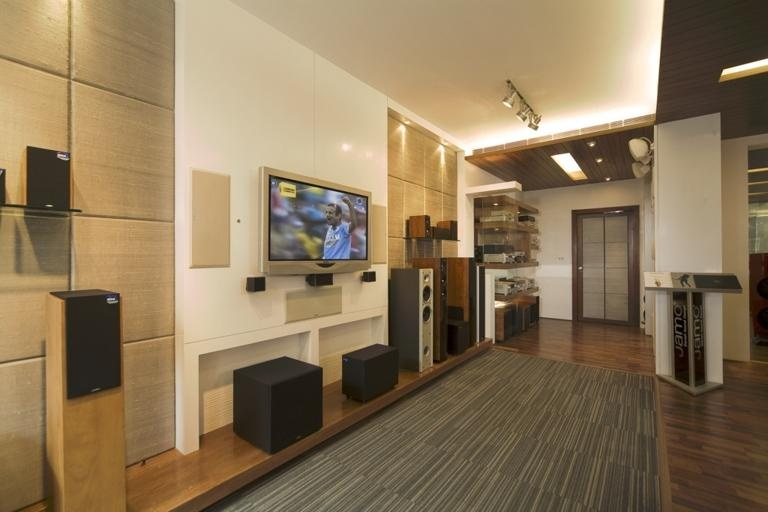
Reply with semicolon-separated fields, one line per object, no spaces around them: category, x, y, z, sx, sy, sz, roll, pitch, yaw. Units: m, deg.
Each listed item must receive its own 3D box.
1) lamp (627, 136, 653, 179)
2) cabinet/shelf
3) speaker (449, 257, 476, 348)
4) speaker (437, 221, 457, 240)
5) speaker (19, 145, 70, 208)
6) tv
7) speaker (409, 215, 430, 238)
lamp;3.346;-1.299;6.638;0.269;0.447;0.663;-2;2;26
cabinet/shelf;2.003;-0.359;8.231;0.518;1.120;1.832;-2;2;35
speaker;1.015;0.595;6.382;0.514;1.151;0.236;-4;2;-36
speaker;0.828;-0.337;6.810;0.126;0.239;0.253;-2;-3;40
speaker;-2.571;-0.565;3.879;0.292;0.435;0.302;17;-1;-19
tv;-0.655;-0.329;5.047;0.088;0.697;1.325;-1;2;44
speaker;0.456;-0.307;6.469;0.246;0.341;0.352;-2;-3;15
